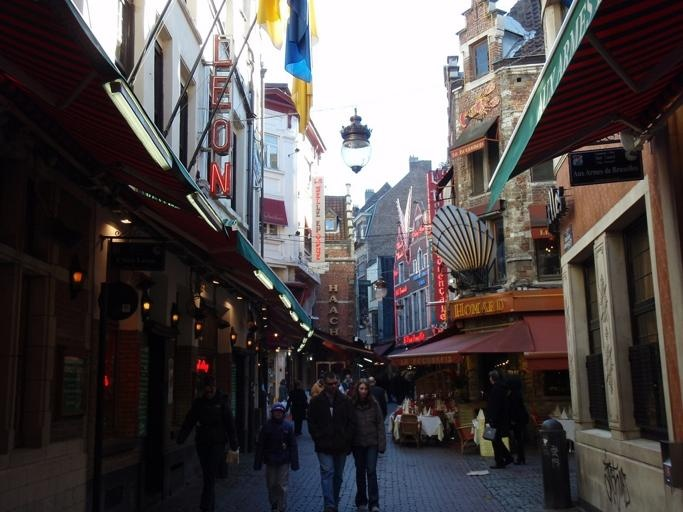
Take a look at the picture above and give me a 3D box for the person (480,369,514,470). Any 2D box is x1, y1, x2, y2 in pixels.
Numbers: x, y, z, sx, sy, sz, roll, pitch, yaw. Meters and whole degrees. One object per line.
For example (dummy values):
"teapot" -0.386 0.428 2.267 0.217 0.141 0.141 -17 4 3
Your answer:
"person" 3.376 3.455 15.373 0.536 2.062 1.270 -5 -18 12

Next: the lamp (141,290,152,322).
"lamp" -3.109 0.774 11.410 0.129 0.461 0.351 1 -18 -11

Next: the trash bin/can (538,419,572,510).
"trash bin/can" 3.322 3.227 11.150 0.428 1.356 0.508 -6 -17 15
